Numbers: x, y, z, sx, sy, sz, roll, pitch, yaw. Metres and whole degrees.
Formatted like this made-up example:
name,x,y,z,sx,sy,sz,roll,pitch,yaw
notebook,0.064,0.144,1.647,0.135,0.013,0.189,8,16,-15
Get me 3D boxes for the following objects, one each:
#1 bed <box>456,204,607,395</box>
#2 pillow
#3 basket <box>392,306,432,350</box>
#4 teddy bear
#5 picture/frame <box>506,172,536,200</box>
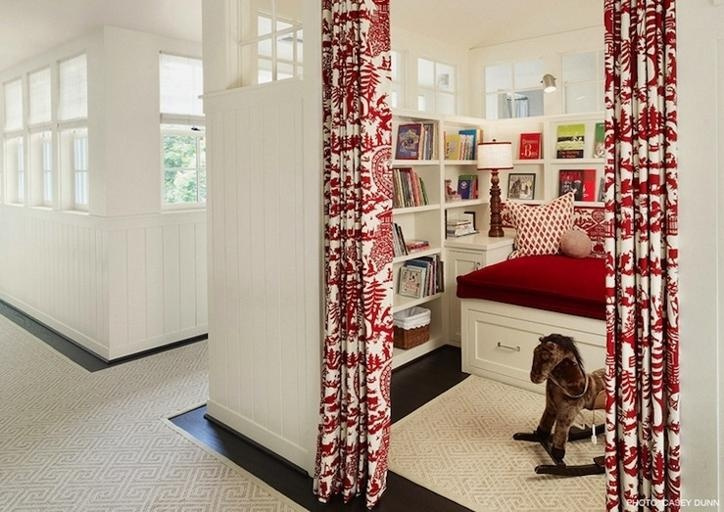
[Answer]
name,x,y,z,sx,sy,sz,roll,pitch,yaw
bed,1.411,0.440,4.213,1.076,1.155,0.860,-4,4,-44
pillow,1.534,-0.246,4.569,0.534,0.495,0.207,-2,-8,7
basket,0.421,0.581,4.496,0.231,0.266,0.472,5,11,38
teddy bear,1.175,0.802,3.115,0.391,0.711,0.307,1,9,20
picture/frame,1.510,-0.655,5.129,0.242,0.257,0.017,8,9,34
